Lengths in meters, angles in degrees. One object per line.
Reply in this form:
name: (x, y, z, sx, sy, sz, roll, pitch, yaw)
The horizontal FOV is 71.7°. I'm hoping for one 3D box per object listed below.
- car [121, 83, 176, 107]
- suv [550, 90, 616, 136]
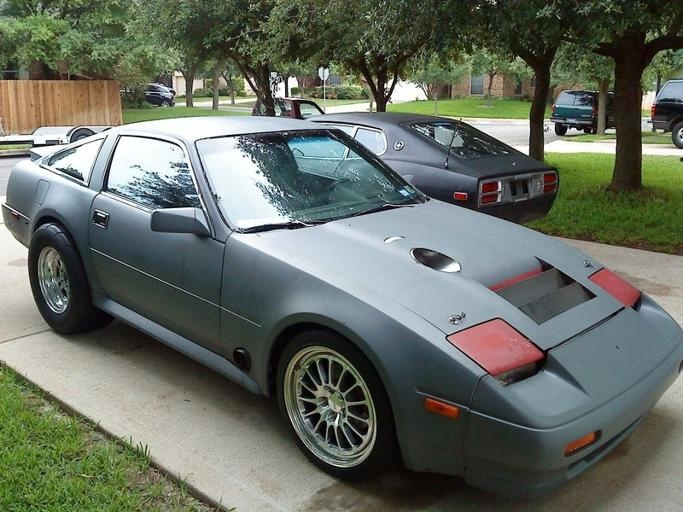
car: (-17.457, -15.444, 45.436, 2.777, 2.180, 1.708, -7, 16, -42)
suv: (13.129, -7.810, 26.142, 2.502, 2.328, 5.075, 7, 23, 36)
